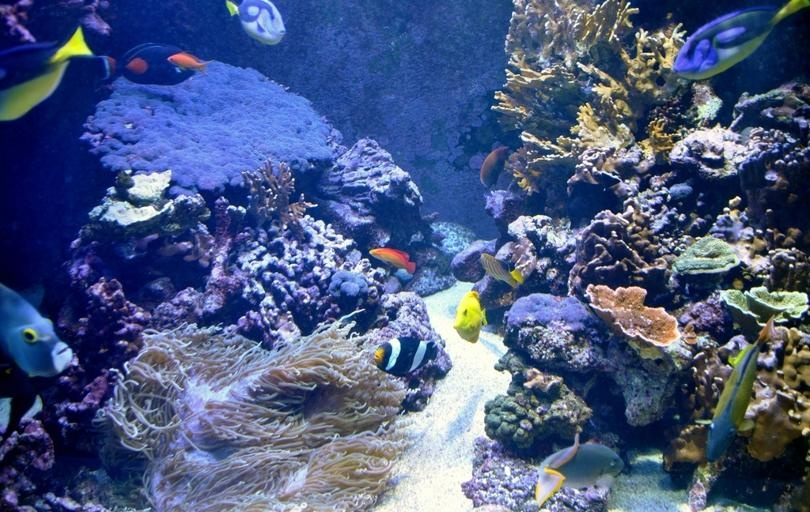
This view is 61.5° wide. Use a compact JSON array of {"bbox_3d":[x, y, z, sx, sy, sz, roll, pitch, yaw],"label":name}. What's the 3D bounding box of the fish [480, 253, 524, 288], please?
[{"bbox_3d":[1.544,0.221,10.611,0.185,0.327,0.635,-31,57,-34],"label":"fish"}]
